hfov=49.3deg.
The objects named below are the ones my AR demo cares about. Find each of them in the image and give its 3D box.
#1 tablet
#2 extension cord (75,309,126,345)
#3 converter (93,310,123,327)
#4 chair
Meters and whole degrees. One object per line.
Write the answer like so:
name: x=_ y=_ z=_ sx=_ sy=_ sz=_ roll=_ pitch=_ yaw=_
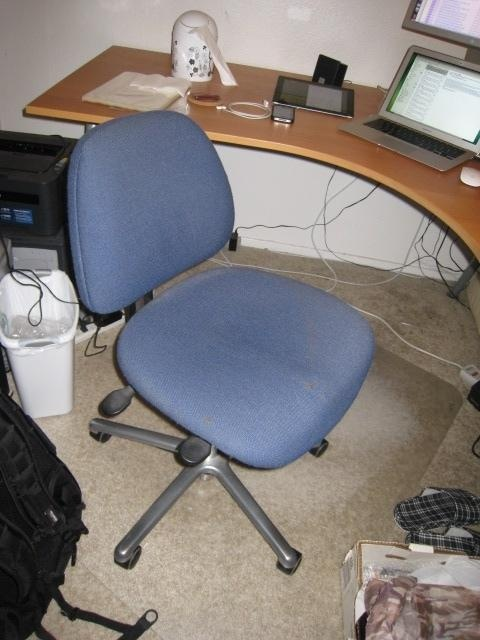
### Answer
tablet: x=0.252 y=-0.746 z=1.740 sx=0.312 sy=0.012 sz=0.195 roll=16 pitch=55 yaw=9
extension cord: x=-0.502 y=0.023 z=1.850 sx=0.125 sy=0.036 sz=0.091 roll=-21 pitch=53 yaw=-33
converter: x=-0.471 y=-0.002 z=1.859 sx=0.070 sy=0.029 sz=0.094 roll=21 pitch=28 yaw=31
chair: x=-0.046 y=0.097 z=1.173 sx=0.644 sy=0.914 sz=0.622 roll=2 pitch=42 yaw=-9
